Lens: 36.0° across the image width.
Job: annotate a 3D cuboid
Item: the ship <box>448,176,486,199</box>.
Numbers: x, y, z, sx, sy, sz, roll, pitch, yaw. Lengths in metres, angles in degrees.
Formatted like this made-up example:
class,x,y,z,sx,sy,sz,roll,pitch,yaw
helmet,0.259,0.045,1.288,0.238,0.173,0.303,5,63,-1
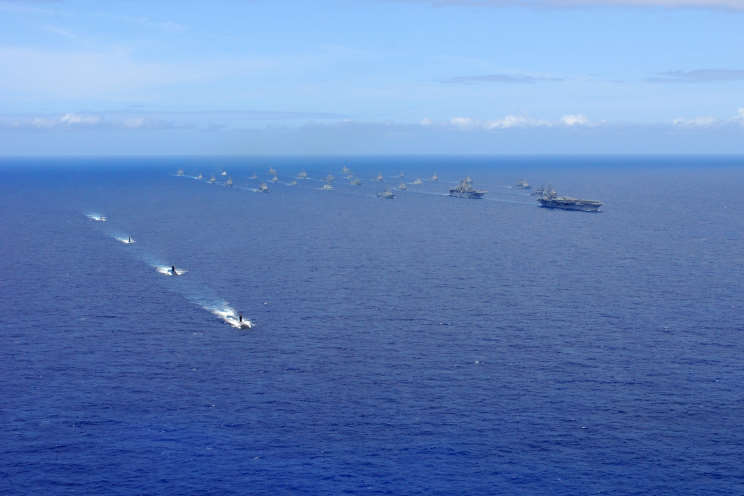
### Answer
class,x,y,z,sx,sy,sz,roll,pitch,yaw
ship,34.542,-20.117,405.643,6.727,5.586,17.811,-1,5,-22

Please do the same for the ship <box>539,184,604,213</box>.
class,x,y,z,sx,sy,sz,roll,pitch,yaw
ship,60.731,-14.590,357.280,16.795,4.720,43.174,2,10,3
